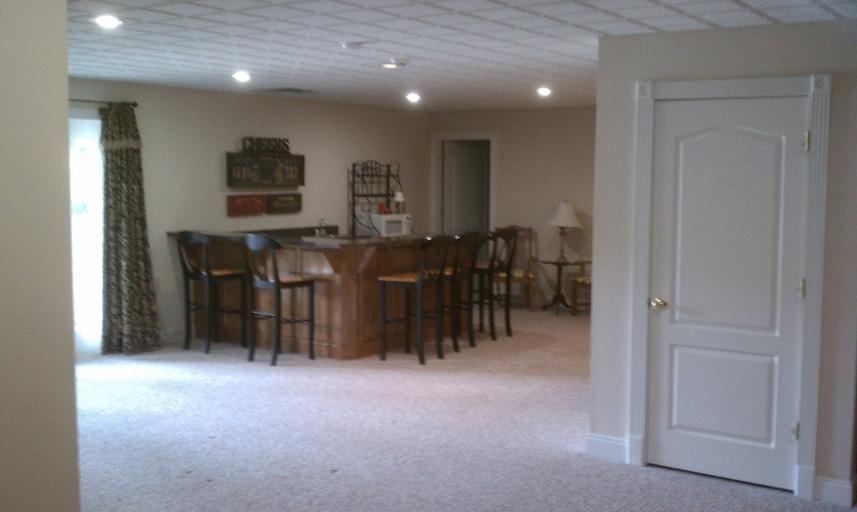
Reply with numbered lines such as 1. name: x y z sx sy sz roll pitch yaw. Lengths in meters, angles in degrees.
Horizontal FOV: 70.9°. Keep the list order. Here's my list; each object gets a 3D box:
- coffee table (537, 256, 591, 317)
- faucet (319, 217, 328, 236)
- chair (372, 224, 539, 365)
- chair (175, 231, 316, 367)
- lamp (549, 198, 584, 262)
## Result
1. coffee table: 2.051 0.448 9.318 0.879 0.701 0.823 2 3 14
2. faucet: -1.565 -0.435 8.877 0.114 0.228 0.280 0 11 -4
3. chair: 0.336 0.523 7.663 0.578 1.102 1.864 3 4 31
4. chair: -2.164 0.521 7.141 1.628 1.120 0.680 4 7 38
5. lamp: 2.097 -0.386 9.220 0.469 0.882 0.497 3 12 11
